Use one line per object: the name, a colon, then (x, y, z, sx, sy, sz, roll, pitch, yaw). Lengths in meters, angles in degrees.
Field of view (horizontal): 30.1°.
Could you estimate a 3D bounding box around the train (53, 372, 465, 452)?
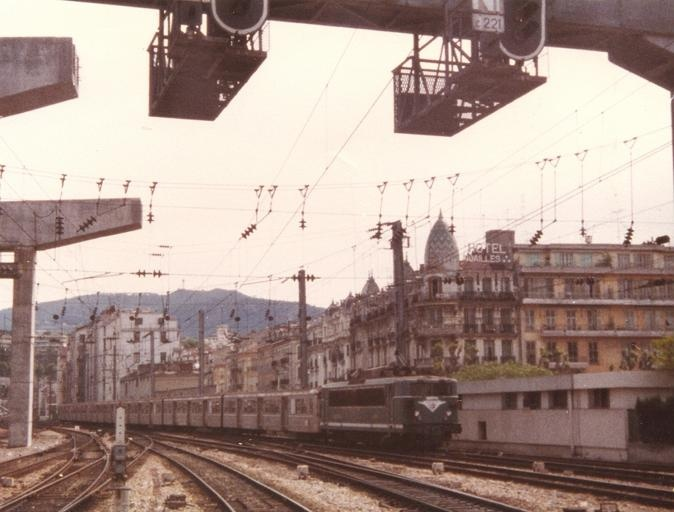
train: (-7.395, 8.274, 74.402, 34.556, 2.488, 1.726, -9, 9, 34)
